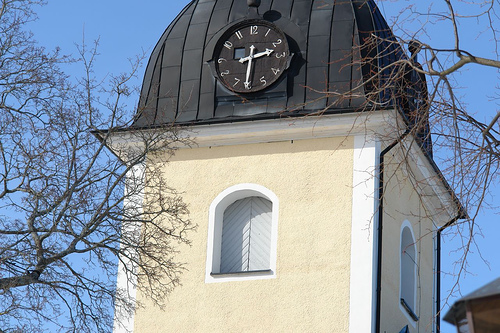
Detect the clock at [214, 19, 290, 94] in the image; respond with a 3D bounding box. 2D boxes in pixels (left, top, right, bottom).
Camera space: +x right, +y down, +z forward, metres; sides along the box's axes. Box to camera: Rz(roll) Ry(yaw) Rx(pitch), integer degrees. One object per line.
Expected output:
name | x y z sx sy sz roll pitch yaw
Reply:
clock | -0.020 -2.330 27.378 1.656 1.807 0.221 -2 -26 15
